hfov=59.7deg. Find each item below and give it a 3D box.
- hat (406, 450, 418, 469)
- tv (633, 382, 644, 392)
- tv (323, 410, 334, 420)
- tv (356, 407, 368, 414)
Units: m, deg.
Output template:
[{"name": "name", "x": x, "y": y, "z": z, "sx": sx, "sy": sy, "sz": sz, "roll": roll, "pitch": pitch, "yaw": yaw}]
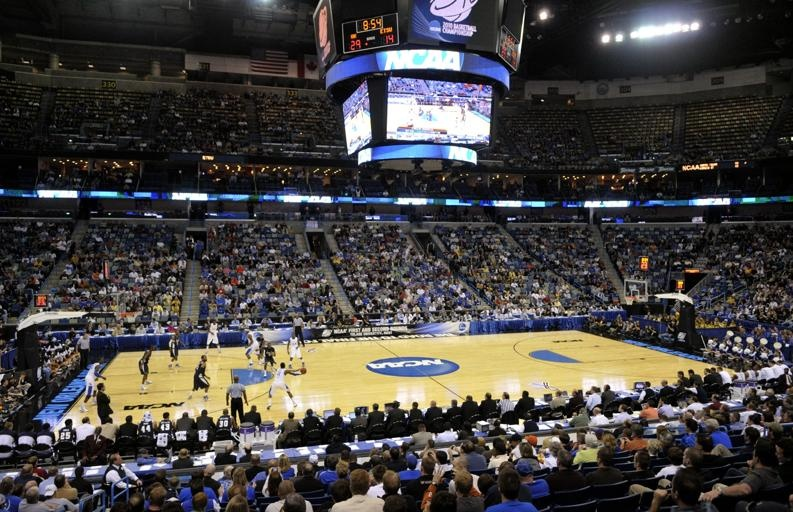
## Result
[{"name": "hat", "x": 0.622, "y": 8.179, "z": 27.273, "sx": 0.365, "sy": 0.628, "sz": 0.497, "roll": 0, "pitch": 12, "yaw": -6}, {"name": "tv", "x": 12.436, "y": 6.707, "z": 35.148, "sx": 0.602, "sy": 0.576, "sz": 0.497, "roll": 0, "pitch": -1, "yaw": 5}, {"name": "tv", "x": -3.097, "y": 7.241, "z": 31.385, "sx": 0.531, "sy": 0.387, "sz": 0.552, "roll": -6, "pitch": -20, "yaw": -8}, {"name": "tv", "x": -1.574, "y": 7.134, "z": 31.649, "sx": 0.540, "sy": 0.363, "sz": 0.299, "roll": 1, "pitch": 9, "yaw": 0}]
